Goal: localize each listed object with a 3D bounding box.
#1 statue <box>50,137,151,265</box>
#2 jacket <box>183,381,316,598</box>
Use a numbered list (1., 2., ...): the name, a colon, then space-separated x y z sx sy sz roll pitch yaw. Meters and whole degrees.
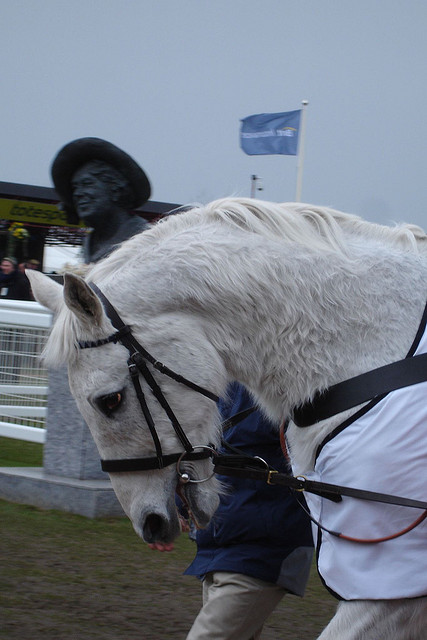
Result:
1. statue: -0.689 -0.710 4.597 0.608 0.718 0.508 4 3 -6
2. jacket: 0.137 0.559 2.539 0.413 0.460 0.331 5 3 20
